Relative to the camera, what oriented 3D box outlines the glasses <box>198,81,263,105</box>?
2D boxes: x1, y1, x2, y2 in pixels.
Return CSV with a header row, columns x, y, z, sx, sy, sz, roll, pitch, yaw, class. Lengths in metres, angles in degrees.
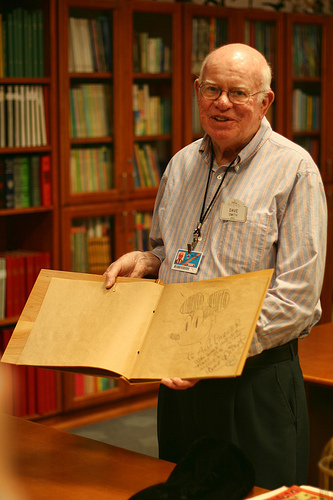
x,y,z,sx,sy,sz,roll,pitch,yaw,class
0.157,-0.364,1.094,0.153,0.044,0.072,-2,-1,8,glasses
